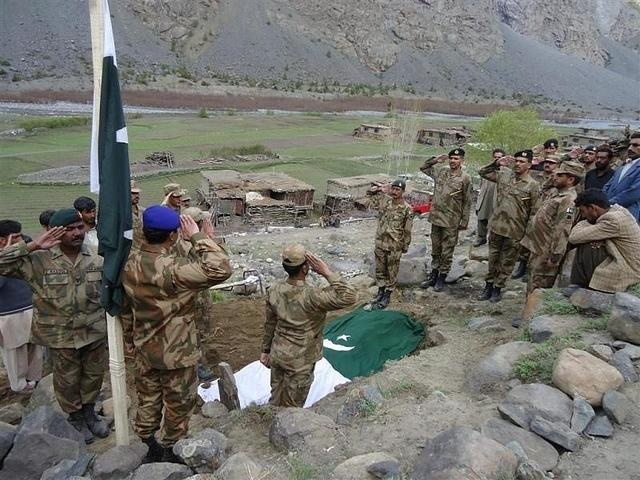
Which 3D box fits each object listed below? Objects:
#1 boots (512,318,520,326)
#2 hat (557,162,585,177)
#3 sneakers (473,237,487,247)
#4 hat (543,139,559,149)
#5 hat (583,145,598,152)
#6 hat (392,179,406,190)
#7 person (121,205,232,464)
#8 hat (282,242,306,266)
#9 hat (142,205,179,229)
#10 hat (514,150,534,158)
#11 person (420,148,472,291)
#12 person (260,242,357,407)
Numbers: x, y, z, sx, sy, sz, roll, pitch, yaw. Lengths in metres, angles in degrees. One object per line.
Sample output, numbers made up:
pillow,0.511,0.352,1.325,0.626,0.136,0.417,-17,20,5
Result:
boots,3.058,1.275,6.809,0.128,0.048,0.093,-13,10,-43
hat,3.901,-1.119,6.791,0.376,0.169,0.269,3,17,16
sneakers,4.049,0.039,11.378,0.579,0.222,0.178,-2,16,-1
hat,4.532,-1.915,8.609,0.191,0.158,0.337,19,27,40
hat,5.130,-1.750,8.291,0.276,0.116,0.363,8,20,32
hat,1.447,-1.049,8.049,0.197,0.168,0.222,11,27,-12
person,-1.558,1.120,4.728,1.171,2.963,1.043,-18,29,-36
hat,-0.314,0.181,5.252,0.281,0.241,0.210,-1,22,-3
hat,-1.612,-0.242,4.508,0.240,0.157,0.331,17,12,23
hat,3.644,-1.541,7.824,0.292,0.173,0.367,9,21,22
person,2.483,-0.396,8.739,0.961,2.841,1.246,4,23,9
person,-0.197,1.115,5.384,1.177,2.098,0.795,2,23,3
